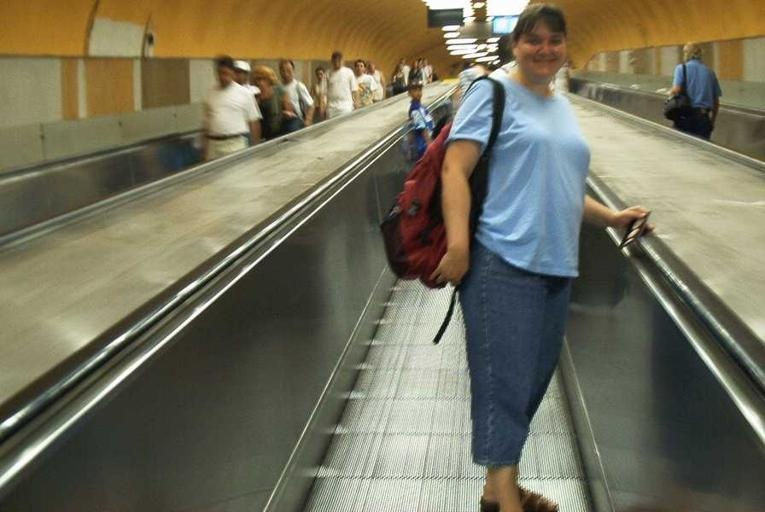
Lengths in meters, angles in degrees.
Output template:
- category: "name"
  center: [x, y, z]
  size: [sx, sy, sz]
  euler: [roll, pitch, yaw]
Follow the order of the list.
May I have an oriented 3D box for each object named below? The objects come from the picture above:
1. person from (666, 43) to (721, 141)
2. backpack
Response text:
- category: "person"
  center: [4.425, -2.094, 6.745]
  size: [0.546, 1.663, 0.474]
  euler: [22, 58, 43]
- category: "backpack"
  center: [0.217, -0.256, 1.935]
  size: [0.404, 0.699, 0.291]
  euler: [5, -4, -5]
